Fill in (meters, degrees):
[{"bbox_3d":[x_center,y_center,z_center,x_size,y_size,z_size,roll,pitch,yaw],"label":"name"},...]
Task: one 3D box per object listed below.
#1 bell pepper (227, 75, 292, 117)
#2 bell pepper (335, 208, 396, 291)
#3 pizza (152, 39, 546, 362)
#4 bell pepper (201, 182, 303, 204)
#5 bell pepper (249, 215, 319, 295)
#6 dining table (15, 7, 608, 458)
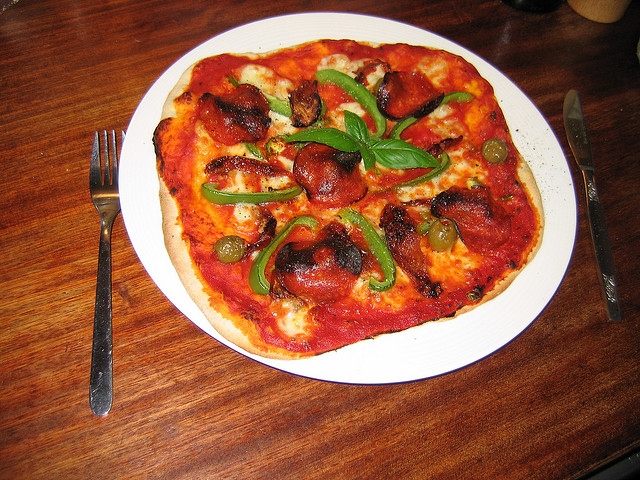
[{"bbox_3d":[-0.198,-0.451,1.915,0.218,0.039,0.049,34,80,-5],"label":"bell pepper"},{"bbox_3d":[0.147,0.020,1.844,0.097,0.060,0.282,-19,62,-17],"label":"bell pepper"},{"bbox_3d":[0.054,-0.142,1.861,1.064,0.177,0.995,-6,71,-9],"label":"pizza"},{"bbox_3d":[-0.208,-0.143,1.861,0.306,0.038,0.061,1,58,-5],"label":"bell pepper"},{"bbox_3d":[-0.116,0.029,1.819,0.093,0.063,0.291,30,60,13],"label":"bell pepper"},{"bbox_3d":[-0.008,-0.124,1.888,1.970,0.445,1.440,2,58,-5],"label":"dining table"}]
